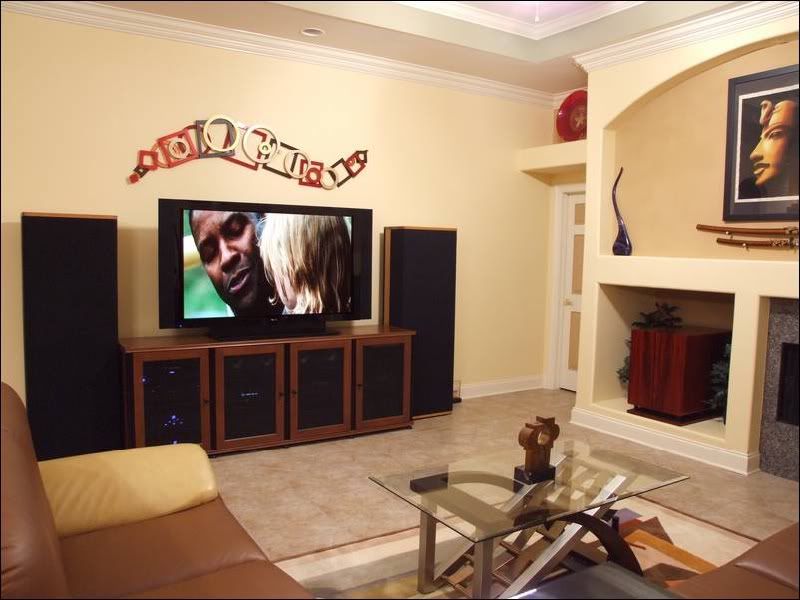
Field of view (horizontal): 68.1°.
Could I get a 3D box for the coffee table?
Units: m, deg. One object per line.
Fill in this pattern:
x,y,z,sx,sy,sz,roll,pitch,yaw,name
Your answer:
0.569,0.958,2.916,1.243,0.610,0.673,-5,9,-30,coffee table

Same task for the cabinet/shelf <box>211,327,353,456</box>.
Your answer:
-0.936,0.708,4.716,1.135,0.893,0.386,-2,7,-26,cabinet/shelf

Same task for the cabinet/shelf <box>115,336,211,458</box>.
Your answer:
-1.670,0.811,4.394,0.608,0.875,0.508,0,-18,-24,cabinet/shelf

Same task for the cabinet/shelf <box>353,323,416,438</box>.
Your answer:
-0.231,0.681,5.138,0.636,0.874,0.473,-1,4,-30,cabinet/shelf

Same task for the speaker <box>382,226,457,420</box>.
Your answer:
0.206,0.190,5.422,0.647,1.705,0.219,-2,5,-34,speaker
